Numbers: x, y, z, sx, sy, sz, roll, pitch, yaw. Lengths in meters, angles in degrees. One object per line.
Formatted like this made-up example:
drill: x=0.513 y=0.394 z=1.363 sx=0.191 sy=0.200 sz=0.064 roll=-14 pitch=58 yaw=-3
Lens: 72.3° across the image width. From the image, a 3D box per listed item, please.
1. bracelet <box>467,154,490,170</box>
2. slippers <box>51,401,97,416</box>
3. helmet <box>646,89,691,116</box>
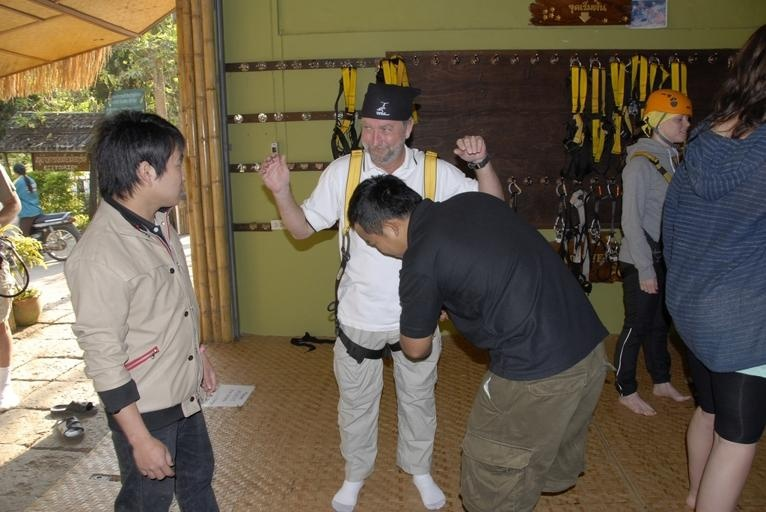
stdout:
bracelet: x=0.608 y=-0.616 z=3.345 sx=0.098 sy=0.037 sz=0.096 roll=-13 pitch=19 yaw=3
slippers: x=-2.647 y=1.310 z=4.468 sx=0.340 sy=0.103 sz=0.153 roll=0 pitch=4 yaw=9
helmet: x=2.235 y=-1.216 z=4.099 sx=0.284 sy=0.176 sz=0.224 roll=14 pitch=28 yaw=31
